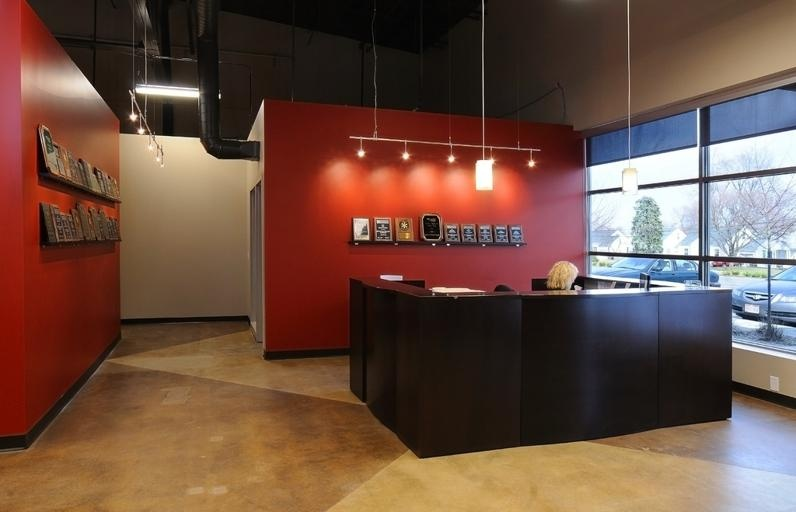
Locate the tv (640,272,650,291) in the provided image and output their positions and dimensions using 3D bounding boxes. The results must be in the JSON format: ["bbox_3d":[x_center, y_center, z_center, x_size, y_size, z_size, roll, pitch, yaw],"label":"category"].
[{"bbox_3d":[2.997,0.313,6.485,0.166,0.200,0.150,1,-1,35],"label":"tv"}]

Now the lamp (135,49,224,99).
[{"bbox_3d":[-4.180,-3.441,10.075,1.272,0.316,1.178,0,10,2],"label":"lamp"}]
